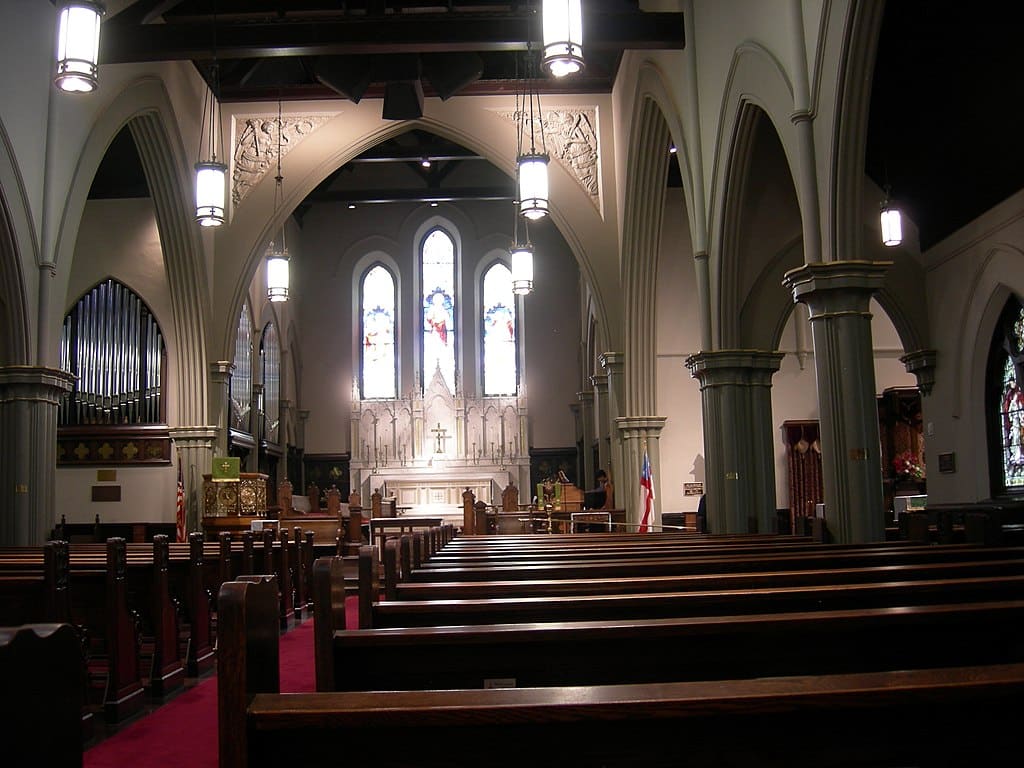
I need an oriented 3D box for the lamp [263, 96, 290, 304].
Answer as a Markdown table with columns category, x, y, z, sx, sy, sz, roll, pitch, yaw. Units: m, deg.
| category | x | y | z | sx | sy | sz | roll | pitch | yaw |
| --- | --- | --- | --- | --- | --- | --- | --- | --- | --- |
| lamp | -3.442 | -2.651 | 14.635 | 0.391 | 2.827 | 0.385 | 2 | -7 | -21 |
